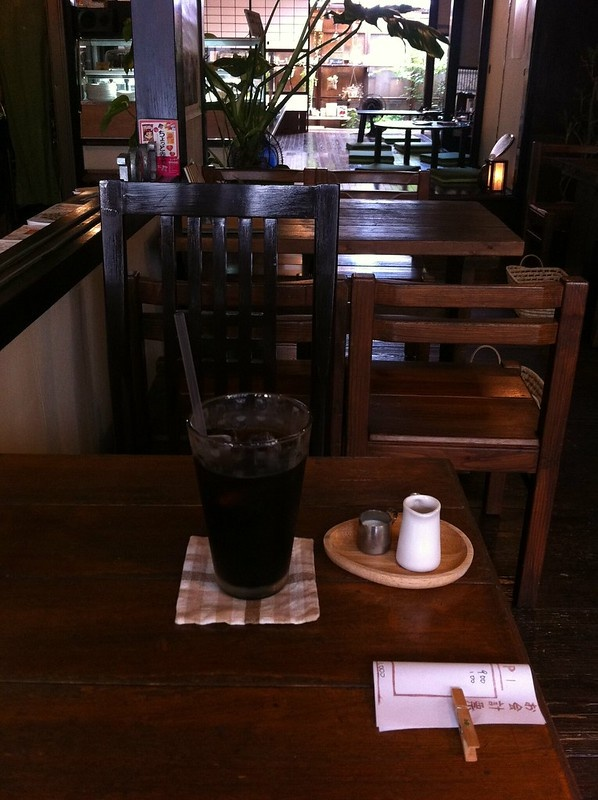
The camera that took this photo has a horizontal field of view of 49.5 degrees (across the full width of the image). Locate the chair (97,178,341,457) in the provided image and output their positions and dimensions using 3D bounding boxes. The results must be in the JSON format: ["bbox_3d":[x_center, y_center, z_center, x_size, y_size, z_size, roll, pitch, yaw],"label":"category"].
[{"bbox_3d":[-0.151,-0.290,1.792,0.508,0.690,1.105,2,25,3],"label":"chair"}]

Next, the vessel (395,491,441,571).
[{"bbox_3d":[0.116,0.128,0.634,0.042,0.066,0.069,2,21,6],"label":"vessel"}]

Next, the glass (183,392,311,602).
[{"bbox_3d":[-0.049,0.068,0.622,0.131,0.130,0.201,5,50,-1],"label":"glass"}]

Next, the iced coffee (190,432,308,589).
[{"bbox_3d":[-0.042,0.097,0.556,0.103,0.156,0.105,2,33,2],"label":"iced coffee"}]
